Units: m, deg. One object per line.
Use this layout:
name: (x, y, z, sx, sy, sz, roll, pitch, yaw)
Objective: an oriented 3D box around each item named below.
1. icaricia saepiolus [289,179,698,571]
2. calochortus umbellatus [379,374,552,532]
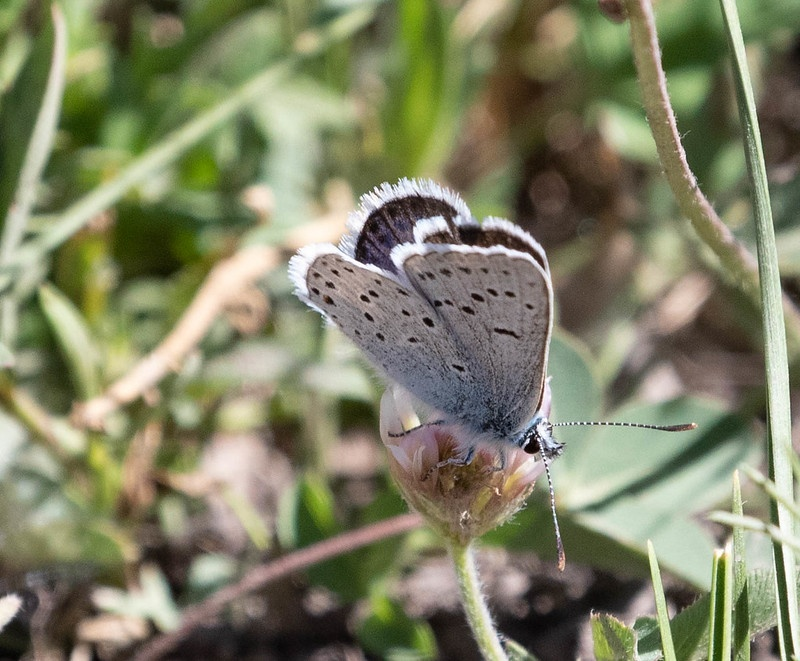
icaricia saepiolus: (0.265, 0.019, 2.231, 0.555, 0.986, 0.659, 14, 60, 33)
calochortus umbellatus: (0.092, 0.274, 2.021, 0.214, 0.394, 0.290, -46, 65, 10)
